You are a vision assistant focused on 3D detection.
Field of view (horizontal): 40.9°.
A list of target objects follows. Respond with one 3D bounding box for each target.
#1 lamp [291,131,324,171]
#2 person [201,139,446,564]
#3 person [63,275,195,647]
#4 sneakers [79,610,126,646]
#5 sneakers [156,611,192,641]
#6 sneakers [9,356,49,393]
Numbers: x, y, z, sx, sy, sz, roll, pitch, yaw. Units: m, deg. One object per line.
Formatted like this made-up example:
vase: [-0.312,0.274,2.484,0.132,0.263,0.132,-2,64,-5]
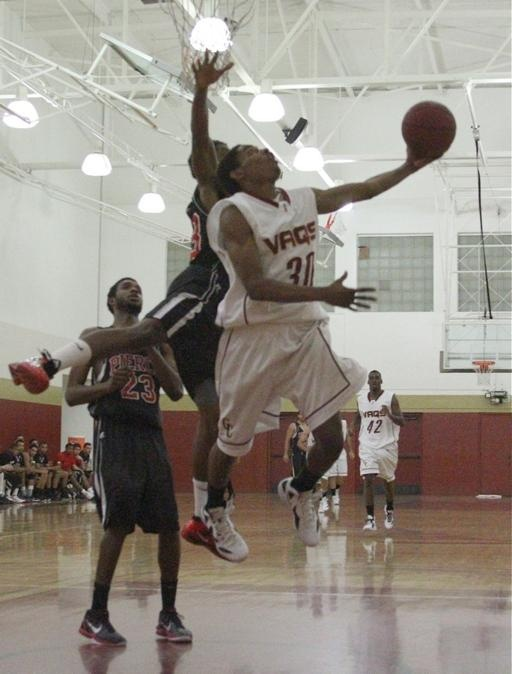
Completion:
lamp: [0.867,-2.682,10.000,0.545,0.302,0.527,-3,5,-38]
person: [0.142,0.070,2.394,0.608,1.604,0.910,1,-3,-26]
person: [-0.488,0.561,2.558,0.452,1.046,0.591,1,-3,-11]
sneakers: [-0.523,0.983,2.352,0.214,0.095,0.071,4,-2,35]
sneakers: [-0.287,1.001,2.373,0.140,0.084,0.072,-14,-19,40]
sneakers: [-0.803,0.123,2.442,0.152,0.104,0.061,0,25,37]
